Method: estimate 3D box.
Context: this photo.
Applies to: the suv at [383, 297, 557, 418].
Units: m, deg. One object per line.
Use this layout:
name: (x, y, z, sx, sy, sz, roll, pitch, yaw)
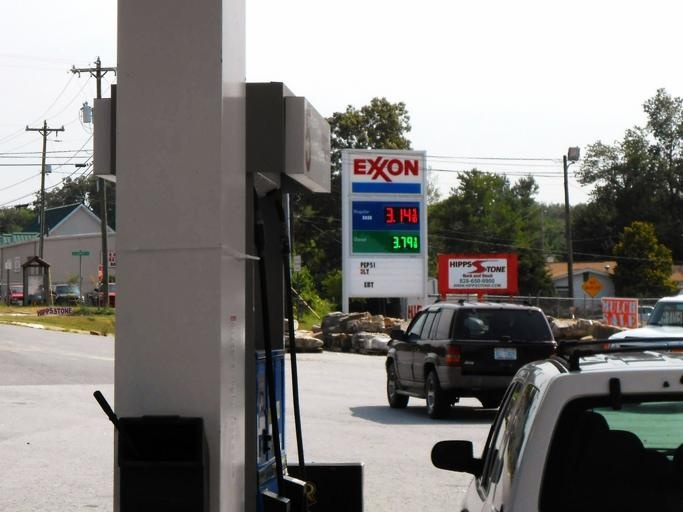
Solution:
suv: (1.747, 1.586, 17.630, 1.413, 1.352, 2.656, 1, 0, -14)
